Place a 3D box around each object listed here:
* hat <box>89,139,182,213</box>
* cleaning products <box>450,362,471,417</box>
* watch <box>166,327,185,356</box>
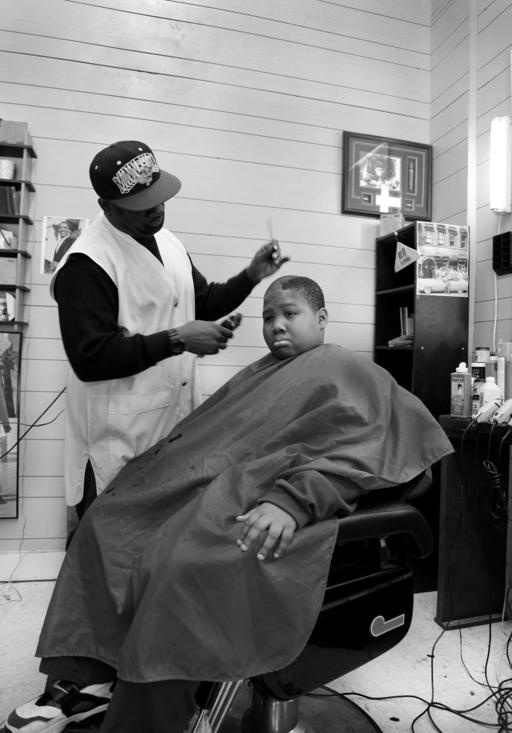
[{"bbox_3d":[-0.358,-0.578,2.117,0.276,0.160,0.214,27,50,38],"label":"hat"},{"bbox_3d":[0.780,0.077,2.753,0.104,0.201,0.109,1,1,10],"label":"cleaning products"},{"bbox_3d":[-0.231,-0.078,2.117,0.022,0.068,0.048,-20,4,-10],"label":"watch"}]
